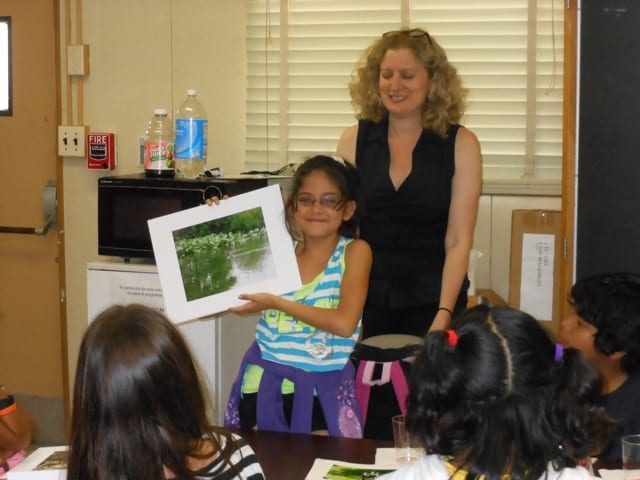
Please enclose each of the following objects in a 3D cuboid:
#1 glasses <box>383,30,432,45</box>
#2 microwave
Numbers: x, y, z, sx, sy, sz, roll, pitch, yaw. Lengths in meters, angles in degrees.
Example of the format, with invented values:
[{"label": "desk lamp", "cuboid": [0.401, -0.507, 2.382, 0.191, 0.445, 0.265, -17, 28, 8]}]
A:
[{"label": "glasses", "cuboid": [0.287, -0.672, 1.974, 0.162, 0.058, 0.071, 0, 5, 7]}, {"label": "microwave", "cuboid": [-0.628, -0.135, 2.431, 0.555, 0.380, 0.401, 0, 1, 25]}]
